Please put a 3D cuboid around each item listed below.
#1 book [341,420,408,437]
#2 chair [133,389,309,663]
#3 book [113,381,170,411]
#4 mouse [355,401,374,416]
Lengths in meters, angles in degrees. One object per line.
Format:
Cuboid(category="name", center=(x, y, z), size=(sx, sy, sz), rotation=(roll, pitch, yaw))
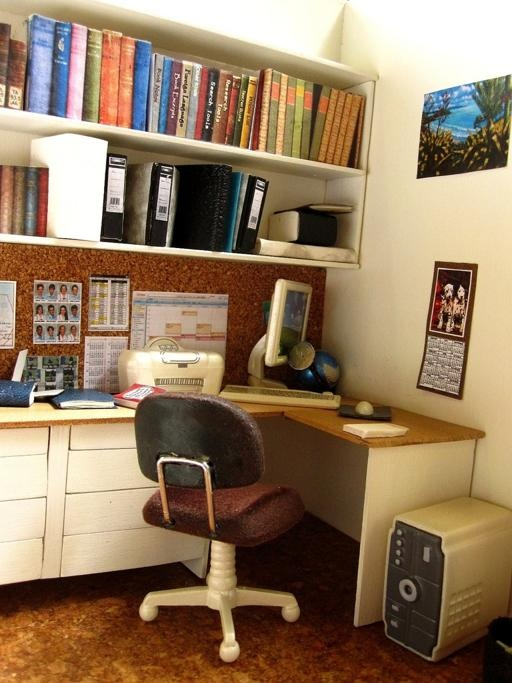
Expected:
Cuboid(category="book", center=(0.365, 0.270, 1.634), size=(0.209, 0.043, 0.122), rotation=(4, 0, -41))
Cuboid(category="chair", center=(-0.111, 0.490, 1.438), size=(0.471, 0.693, 0.568), rotation=(4, 0, 7))
Cuboid(category="book", center=(-0.370, 0.170, 1.768), size=(0.151, 0.042, 0.150), rotation=(-9, 12, -40))
Cuboid(category="mouse", center=(0.378, 0.228, 1.864), size=(0.049, 0.028, 0.048), rotation=(8, 12, 9))
